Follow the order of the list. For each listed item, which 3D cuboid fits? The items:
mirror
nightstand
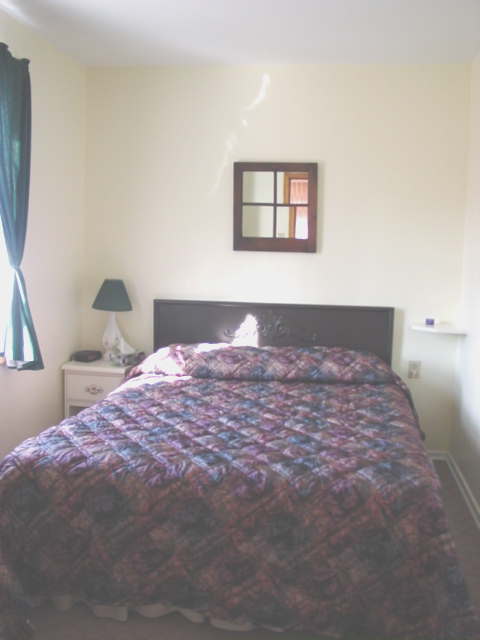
[{"bbox_3d":[0.230,-0.702,3.073,0.507,0.581,0.020,1,3,6],"label":"mirror"},{"bbox_3d":[-0.880,0.452,3.152,0.345,0.362,0.242,4,7,-8],"label":"nightstand"}]
